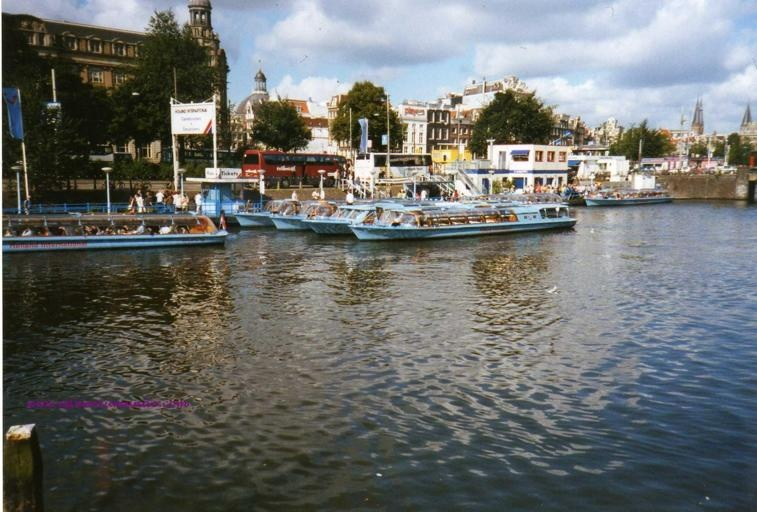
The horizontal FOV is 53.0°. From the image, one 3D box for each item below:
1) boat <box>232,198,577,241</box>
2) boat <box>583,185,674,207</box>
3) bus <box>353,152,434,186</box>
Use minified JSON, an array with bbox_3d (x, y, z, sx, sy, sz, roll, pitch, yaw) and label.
[{"bbox_3d":[5.096,-3.504,64.750,25.468,3.042,14.195,-5,12,-26],"label":"boat"},{"bbox_3d":[34.631,-8.142,104.742,16.825,1.901,3.383,-4,15,-22],"label":"boat"},{"bbox_3d":[1.686,-10.383,86.987,6.639,3.102,17.548,3,11,13],"label":"bus"}]
